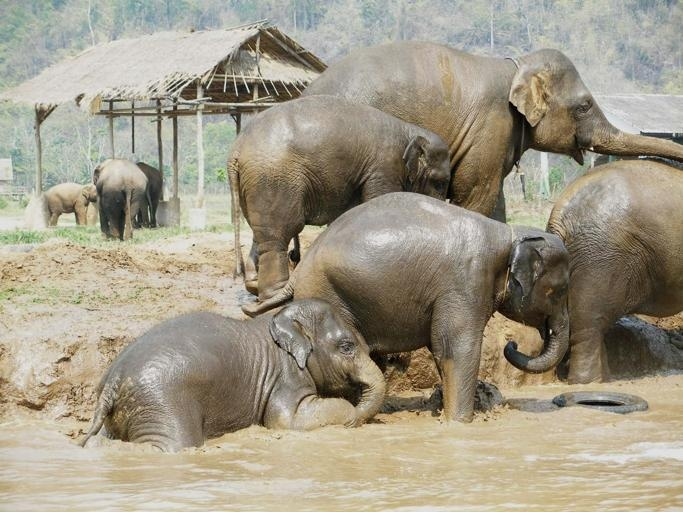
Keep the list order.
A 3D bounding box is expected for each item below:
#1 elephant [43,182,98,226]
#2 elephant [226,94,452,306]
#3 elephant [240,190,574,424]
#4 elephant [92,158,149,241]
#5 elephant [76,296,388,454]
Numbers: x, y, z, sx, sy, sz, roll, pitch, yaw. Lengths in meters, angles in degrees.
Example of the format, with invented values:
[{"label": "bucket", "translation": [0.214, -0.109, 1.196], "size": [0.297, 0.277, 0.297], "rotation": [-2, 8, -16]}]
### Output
[{"label": "elephant", "translation": [-6.709, -1.309, 31.738], "size": [1.672, 0.915, 0.571], "rotation": [-11, 15, -27]}, {"label": "elephant", "translation": [0.505, -0.911, 14.137], "size": [3.269, 2.650, 1.397], "rotation": [-8, 16, -27]}, {"label": "elephant", "translation": [0.816, 0.569, 13.656], "size": [3.381, 2.443, 1.537], "rotation": [5, 16, -1]}, {"label": "elephant", "translation": [-5.043, -1.397, 27.724], "size": [0.979, 1.800, 2.303], "rotation": [-4, 14, -26]}, {"label": "elephant", "translation": [-1.185, 1.255, 13.082], "size": [2.659, 1.379, 1.372], "rotation": [-9, 9, -20]}]
